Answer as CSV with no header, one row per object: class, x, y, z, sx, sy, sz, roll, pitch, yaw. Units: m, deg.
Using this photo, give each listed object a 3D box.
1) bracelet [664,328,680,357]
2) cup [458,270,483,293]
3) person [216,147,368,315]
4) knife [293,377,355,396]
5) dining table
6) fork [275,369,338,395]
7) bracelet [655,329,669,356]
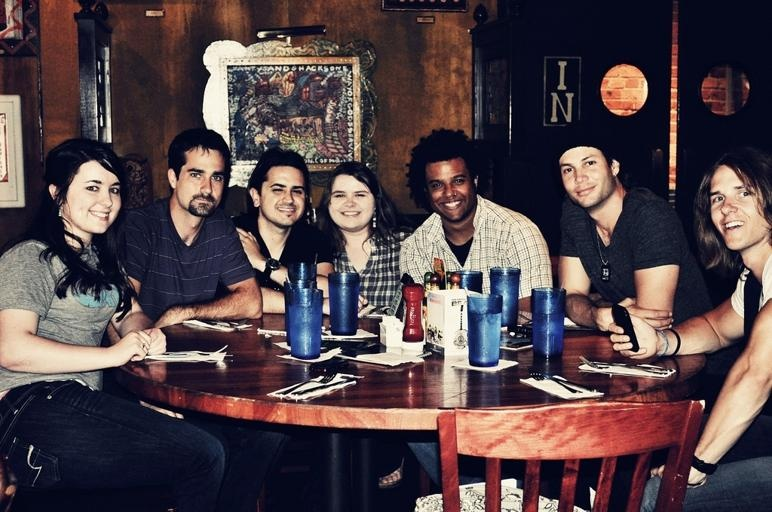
bracelet,1.122,0.334,2.624,0.080,0.096,0.037,10,-20,-27
cup,0.363,0.108,2.830,0.098,0.066,0.091,0,2,0
person,-0.600,-0.082,3.926,1.032,1.099,0.990,2,-3,-7
knife,-0.201,0.421,2.235,0.233,0.031,0.061,-12,11,-42
dining table,-0.122,0.654,2.650,1.192,0.666,1.110,1,3,-2
fork,-0.259,0.425,2.212,0.227,0.024,0.066,-9,10,-40
bracelet,1.071,0.341,2.600,0.025,0.082,0.065,3,-3,-3
